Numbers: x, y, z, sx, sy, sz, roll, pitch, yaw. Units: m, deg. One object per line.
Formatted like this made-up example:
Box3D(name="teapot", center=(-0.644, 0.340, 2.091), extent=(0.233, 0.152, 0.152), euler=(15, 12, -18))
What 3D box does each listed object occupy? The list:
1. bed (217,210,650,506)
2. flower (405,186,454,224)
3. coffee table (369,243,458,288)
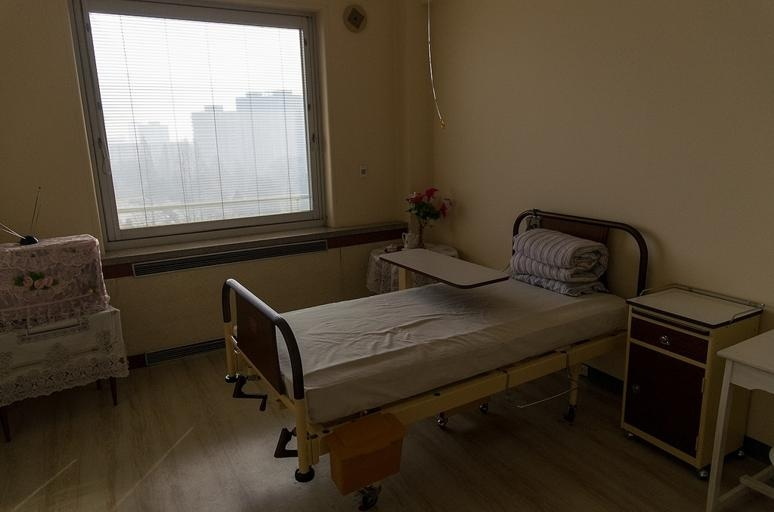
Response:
Box3D(name="bed", center=(0.182, 0.628, 4.129), extent=(3.060, 1.748, 1.725), euler=(-10, 17, -29))
Box3D(name="flower", center=(0.414, -0.543, 5.439), extent=(0.402, 0.353, 0.407), euler=(13, 16, 40))
Box3D(name="coffee table", center=(0.175, 0.126, 5.307), extent=(0.605, 0.296, 0.556), euler=(-8, 20, -18))
